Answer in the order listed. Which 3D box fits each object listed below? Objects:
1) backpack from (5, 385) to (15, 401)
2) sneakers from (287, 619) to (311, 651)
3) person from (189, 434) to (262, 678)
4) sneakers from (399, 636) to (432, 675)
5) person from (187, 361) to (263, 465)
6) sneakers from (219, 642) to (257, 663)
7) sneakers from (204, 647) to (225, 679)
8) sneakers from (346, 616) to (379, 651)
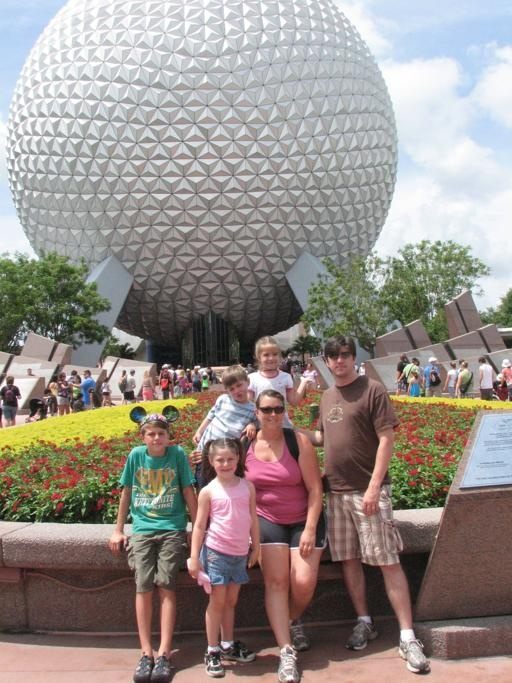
[{"bbox_3d":[-5.320,1.152,12.036,0.212,0.341,0.323,3,-13,-16],"label":"backpack"},{"bbox_3d":[0.210,1.435,2.691,0.093,0.100,0.136,-1,2,3],"label":"sneakers"},{"bbox_3d":[-0.142,0.985,2.634,0.323,1.010,0.572,0,2,27],"label":"person"},{"bbox_3d":[0.685,1.367,2.417,0.119,0.113,0.239,-1,2,11],"label":"sneakers"},{"bbox_3d":[-0.190,0.557,3.319,0.344,0.821,0.248,13,8,8],"label":"person"},{"bbox_3d":[-0.083,1.422,2.533,0.166,0.078,0.066,-1,-6,6],"label":"sneakers"},{"bbox_3d":[-0.178,1.397,2.409,0.083,0.095,0.122,-1,2,-6],"label":"sneakers"},{"bbox_3d":[0.503,1.412,2.677,0.074,0.099,0.204,-4,-9,21],"label":"sneakers"}]
